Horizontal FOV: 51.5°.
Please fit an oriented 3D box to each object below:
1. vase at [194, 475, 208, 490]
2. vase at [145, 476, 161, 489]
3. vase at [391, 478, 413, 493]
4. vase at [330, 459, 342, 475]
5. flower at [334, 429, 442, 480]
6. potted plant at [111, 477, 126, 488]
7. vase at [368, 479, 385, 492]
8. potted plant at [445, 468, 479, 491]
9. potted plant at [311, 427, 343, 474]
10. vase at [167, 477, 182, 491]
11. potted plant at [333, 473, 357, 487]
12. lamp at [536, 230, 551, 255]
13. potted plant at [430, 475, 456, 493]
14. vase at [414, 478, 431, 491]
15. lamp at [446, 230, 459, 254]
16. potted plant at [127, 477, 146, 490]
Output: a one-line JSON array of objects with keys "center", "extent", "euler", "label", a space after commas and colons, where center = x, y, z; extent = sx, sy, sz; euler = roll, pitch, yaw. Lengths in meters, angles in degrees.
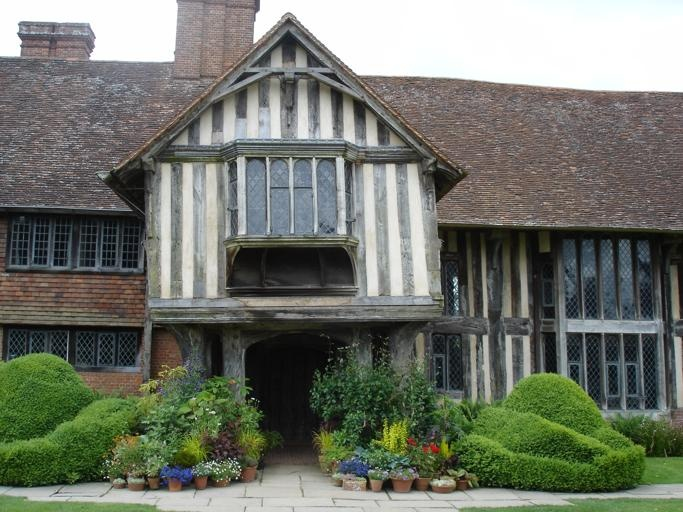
[{"center": [-2.709, 4.364, 13.683], "extent": [0.241, 0.172, 0.238], "euler": [6, -14, -31], "label": "vase"}, {"center": [-3.596, 4.316, 13.590], "extent": [0.243, 0.174, 0.241], "euler": [-6, -14, 26], "label": "vase"}, {"center": [1.169, 4.451, 13.805], "extent": [0.316, 0.165, 0.313], "euler": [12, -20, -33], "label": "vase"}, {"center": [-0.133, 4.364, 14.687], "extent": [0.262, 0.288, 0.258], "euler": [0, -7, 8], "label": "vase"}, {"center": [1.042, 4.045, 14.226], "extent": [2.020, 0.728, 0.797], "euler": [-3, -9, 9], "label": "flower"}, {"center": [-4.252, 4.326, 13.556], "extent": [0.343, 0.180, 0.225], "euler": [-3, -9, 7], "label": "potted plant"}, {"center": [0.713, 4.469, 13.916], "extent": [0.331, 0.232, 0.282], "euler": [1, -9, -15], "label": "vase"}, {"center": [2.405, 4.407, 14.026], "extent": [0.444, 0.186, 0.445], "euler": [-4, -7, 23], "label": "potted plant"}, {"center": [-0.299, 4.209, 15.426], "extent": [0.937, 1.155, 0.890], "euler": [-1, -14, 3], "label": "potted plant"}, {"center": [-3.164, 4.329, 13.496], "extent": [0.262, 0.238, 0.282], "euler": [0, -9, -12], "label": "vase"}, {"center": [-0.008, 4.421, 14.089], "extent": [0.299, 0.193, 0.294], "euler": [3, -8, -4], "label": "potted plant"}, {"center": [5.589, -0.388, 19.620], "extent": [0.500, 0.880, 0.493], "euler": [-1, -2, 12], "label": "lamp"}, {"center": [1.995, 4.455, 13.886], "extent": [0.523, 0.279, 0.282], "euler": [-2, -9, 5], "label": "potted plant"}, {"center": [1.592, 4.479, 13.979], "extent": [0.278, 0.174, 0.273], "euler": [2, -17, -6], "label": "vase"}, {"center": [3.034, -0.397, 19.424], "extent": [0.312, 0.605, 0.083], "euler": [4, -10, -30], "label": "lamp"}, {"center": [-3.881, 4.311, 13.429], "extent": [0.237, 0.144, 0.234], "euler": [4, -6, -21], "label": "potted plant"}]
